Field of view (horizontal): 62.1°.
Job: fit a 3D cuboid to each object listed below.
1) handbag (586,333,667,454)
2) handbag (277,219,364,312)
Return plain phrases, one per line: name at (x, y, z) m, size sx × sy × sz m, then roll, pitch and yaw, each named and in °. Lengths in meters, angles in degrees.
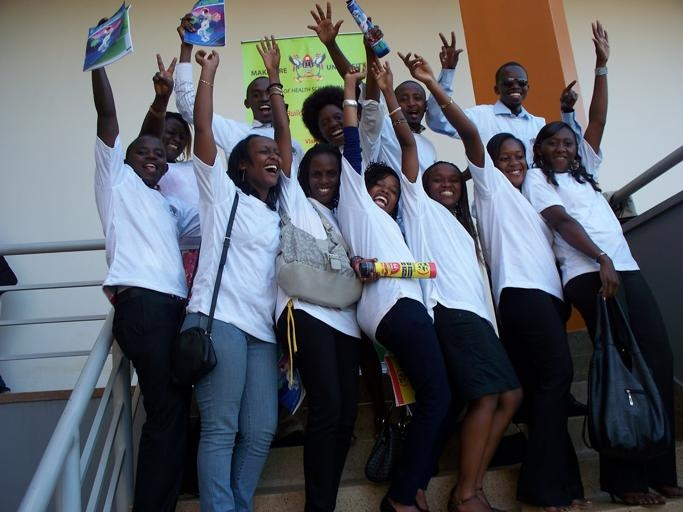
handbag at (1.494, 0.745, 3.021) m, size 0.407 × 0.618 × 0.243 m, roll -4°, pitch 4°, yaw -5°
handbag at (-0.133, 0.034, 3.251) m, size 0.496 × 0.276 × 0.694 m, roll 7°, pitch 43°, yaw -29°
